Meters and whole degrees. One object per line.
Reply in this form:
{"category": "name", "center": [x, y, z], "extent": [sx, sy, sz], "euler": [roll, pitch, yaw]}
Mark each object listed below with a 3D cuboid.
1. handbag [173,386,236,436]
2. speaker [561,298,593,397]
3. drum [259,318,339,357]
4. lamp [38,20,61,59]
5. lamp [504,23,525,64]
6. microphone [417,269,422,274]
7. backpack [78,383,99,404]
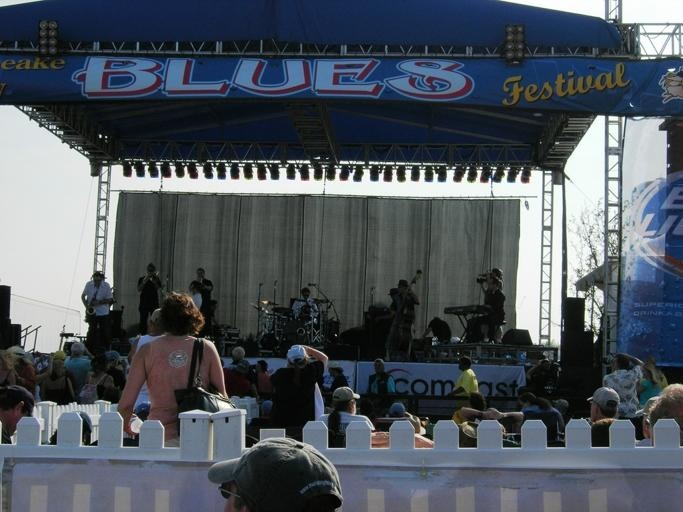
{"category": "handbag", "center": [-1.955, 2.053, 26.136], "extent": [0.379, 0.756, 0.779], "euler": [-35, -20, 24]}
{"category": "speaker", "center": [4.171, 1.651, 33.282], "extent": [0.408, 1.866, 0.551], "euler": [3, 0, -9]}
{"category": "drum", "center": [-0.992, 1.588, 37.629], "extent": [0.998, 0.797, 1.100], "euler": [3, 3, 13]}
{"category": "lamp", "center": [-5.338, -3.940, 34.070], "extent": [0.374, 0.735, 0.297], "euler": [3, -8, -10]}
{"category": "lamp", "center": [3.094, -3.812, 33.649], "extent": [0.360, 0.695, 0.164], "euler": [-2, -17, 7]}
{"category": "microphone", "center": [1.599, 0.338, 38.642], "extent": [0.132, 0.064, 0.173], "euler": [4, 6, 33]}
{"category": "backpack", "center": [-4.047, 2.190, 29.923], "extent": [0.297, 0.362, 0.260], "euler": [5, -12, -6]}
